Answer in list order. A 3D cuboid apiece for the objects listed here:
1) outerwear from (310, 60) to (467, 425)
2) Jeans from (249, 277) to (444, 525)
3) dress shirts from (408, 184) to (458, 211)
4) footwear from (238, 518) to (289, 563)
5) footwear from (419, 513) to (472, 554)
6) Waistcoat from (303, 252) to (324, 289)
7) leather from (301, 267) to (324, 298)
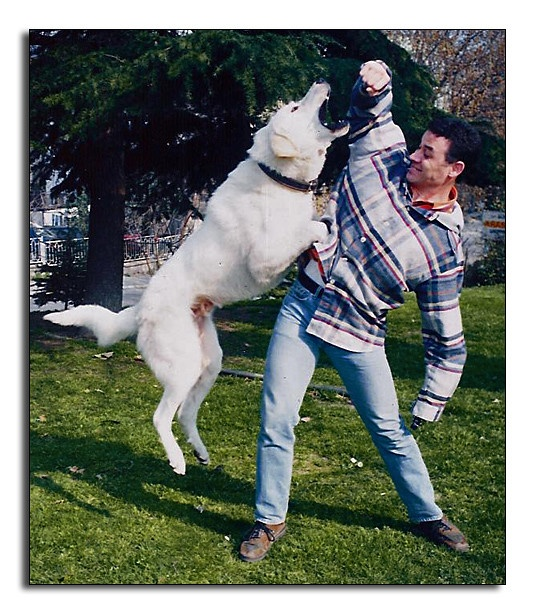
[{"bbox_3d":[0.660,-0.265,3.887,0.802,1.725,0.311,6,8,12],"label":"outerwear"},{"bbox_3d":[0.471,0.527,4.370,1.301,0.431,2.274,-1,20,6],"label":"Jeans"},{"bbox_3d":[0.869,-0.560,3.858,0.193,0.089,0.152,-12,23,-24],"label":"dress shirts"},{"bbox_3d":[-0.009,1.260,4.059,0.134,0.130,0.314,20,36,30],"label":"footwear"},{"bbox_3d":[0.976,1.249,4.199,0.341,0.136,0.127,17,54,36],"label":"footwear"},{"bbox_3d":[0.222,-0.193,3.965,0.049,0.174,0.133,-2,-9,-29],"label":"Waistcoat"},{"bbox_3d":[0.212,-0.133,3.949,0.138,0.049,0.113,39,-1,34],"label":"leather"}]
